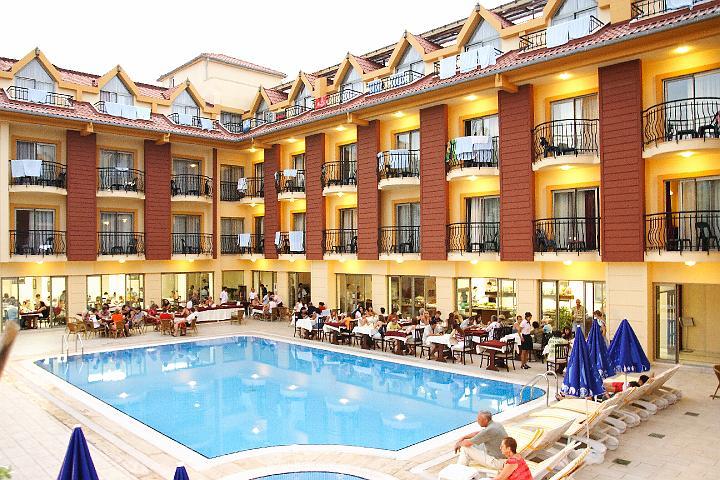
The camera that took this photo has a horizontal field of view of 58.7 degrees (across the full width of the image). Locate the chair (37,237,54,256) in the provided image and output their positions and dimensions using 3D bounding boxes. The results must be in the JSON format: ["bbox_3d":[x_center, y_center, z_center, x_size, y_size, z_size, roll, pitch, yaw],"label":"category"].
[{"bbox_3d":[-17.438,0.339,35.599,0.954,1.230,0.926,0,-4,-4],"label":"chair"}]

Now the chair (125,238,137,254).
[{"bbox_3d":[-13.621,0.306,38.157,0.738,1.021,0.852,-4,10,-18],"label":"chair"}]
